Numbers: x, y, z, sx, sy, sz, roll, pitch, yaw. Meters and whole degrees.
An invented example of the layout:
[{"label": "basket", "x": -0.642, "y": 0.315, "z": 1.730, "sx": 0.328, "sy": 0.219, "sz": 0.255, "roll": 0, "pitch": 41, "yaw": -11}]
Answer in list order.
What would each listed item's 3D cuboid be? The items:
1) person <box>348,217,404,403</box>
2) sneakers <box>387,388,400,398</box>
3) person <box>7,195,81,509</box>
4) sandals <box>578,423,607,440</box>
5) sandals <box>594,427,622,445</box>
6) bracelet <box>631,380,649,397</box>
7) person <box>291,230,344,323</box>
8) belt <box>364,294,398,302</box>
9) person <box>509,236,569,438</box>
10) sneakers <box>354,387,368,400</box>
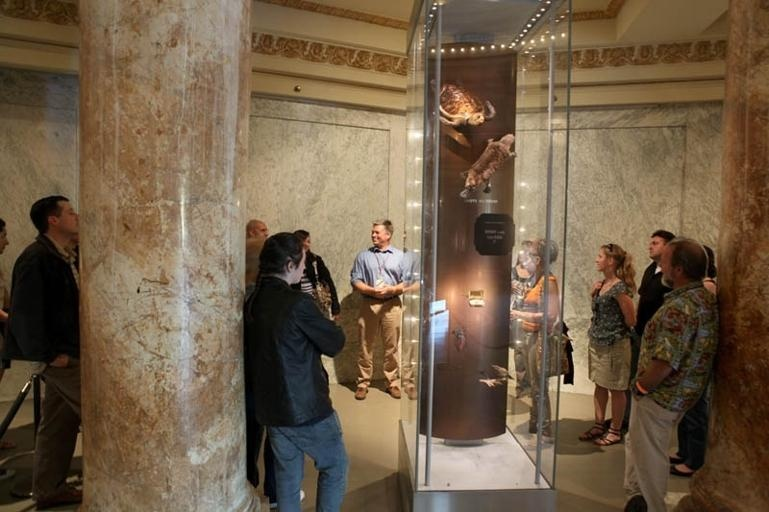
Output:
[{"label": "person", "x": -0.092, "y": 0.592, "z": 7.446, "sx": 0.585, "sy": 2.010, "sz": 0.474, "roll": 0, "pitch": 5, "yaw": -3}, {"label": "sneakers", "x": 0.103, "y": 1.544, "z": 7.459, "sx": 0.110, "sy": 0.108, "sz": 0.263, "roll": 0, "pitch": 5, "yaw": -9}, {"label": "person", "x": -2.636, "y": 0.755, "z": 5.027, "sx": 0.521, "sy": 2.426, "sz": 0.718, "roll": -2, "pitch": 6, "yaw": -26}, {"label": "sandals", "x": 2.031, "y": 1.715, "z": 6.360, "sx": 0.280, "sy": 0.118, "sz": 0.138, "roll": -2, "pitch": 1, "yaw": -12}, {"label": "sandals", "x": 2.148, "y": 1.733, "z": 6.273, "sx": 0.336, "sy": 0.134, "sz": 0.121, "roll": 1, "pitch": -1, "yaw": -14}, {"label": "bracelet", "x": 1.869, "y": 0.968, "z": 4.761, "sx": 0.095, "sy": 0.086, "sz": 0.113, "roll": 7, "pitch": -5, "yaw": 0}, {"label": "person", "x": -0.812, "y": 0.388, "z": 7.353, "sx": 0.548, "sy": 1.352, "sz": 0.414, "roll": -5, "pitch": 11, "yaw": -4}, {"label": "belt", "x": -0.043, "y": 0.471, "z": 7.429, "sx": 0.408, "sy": 0.080, "sz": 0.125, "roll": 1, "pitch": 5, "yaw": 1}, {"label": "person", "x": 1.087, "y": 0.581, "z": 4.669, "sx": 0.119, "sy": 1.407, "sz": 0.415, "roll": -3, "pitch": 6, "yaw": -34}, {"label": "sneakers", "x": -0.269, "y": 1.546, "z": 7.377, "sx": 0.132, "sy": 0.120, "sz": 0.178, "roll": 0, "pitch": 5, "yaw": -5}]
